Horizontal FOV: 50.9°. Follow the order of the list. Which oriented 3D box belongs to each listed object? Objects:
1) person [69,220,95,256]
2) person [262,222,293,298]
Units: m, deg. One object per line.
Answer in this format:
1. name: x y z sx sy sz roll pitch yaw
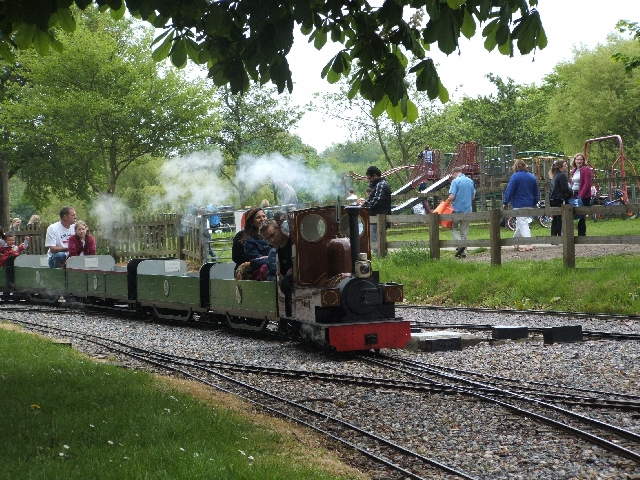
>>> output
1. person: -5.804 0.132 16.493 0.654 1.124 0.639 2 9 -3
2. person: -0.577 0.278 9.714 0.286 1.109 0.664 -3 4 -34
